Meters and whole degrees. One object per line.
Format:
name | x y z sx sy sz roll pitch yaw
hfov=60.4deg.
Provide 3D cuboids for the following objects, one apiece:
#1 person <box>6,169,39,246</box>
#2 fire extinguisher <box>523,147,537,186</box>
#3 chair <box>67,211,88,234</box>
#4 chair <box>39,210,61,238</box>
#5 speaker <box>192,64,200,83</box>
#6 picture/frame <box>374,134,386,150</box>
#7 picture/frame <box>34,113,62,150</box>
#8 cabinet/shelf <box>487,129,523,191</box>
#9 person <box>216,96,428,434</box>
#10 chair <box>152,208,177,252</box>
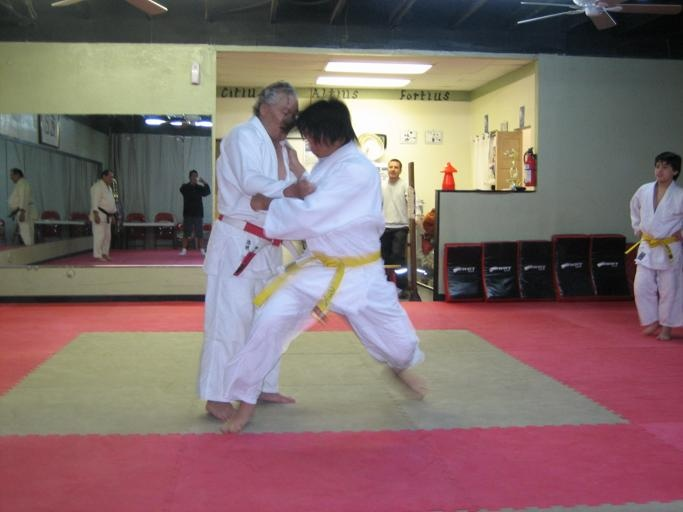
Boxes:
person | -3.599 -0.555 6.611 0.248 0.874 0.094 -5 12 -26
fire extinguisher | 2.320 -1.083 7.168 0.165 0.462 0.080 4 11 17
chair | -3.000 -0.390 6.764 0.220 0.301 0.235 1 -2 -25
chair | -3.317 -0.380 6.708 0.248 0.343 0.266 0 2 -31
speaker | -1.638 -2.064 6.618 0.095 0.235 0.054 -2 11 -15
picture/frame | 0.625 -1.730 8.861 0.181 0.198 0.087 2 2 -6
picture/frame | -3.279 -1.418 6.613 0.269 0.345 0.101 3 11 11
cabinet/shelf | 2.249 -1.310 7.845 0.361 0.772 0.279 3 11 12
person | -0.108 0.029 3.594 1.388 1.984 0.658 -5 15 -25
chair | -2.058 -0.327 6.912 0.291 0.431 0.317 -7 15 -35
